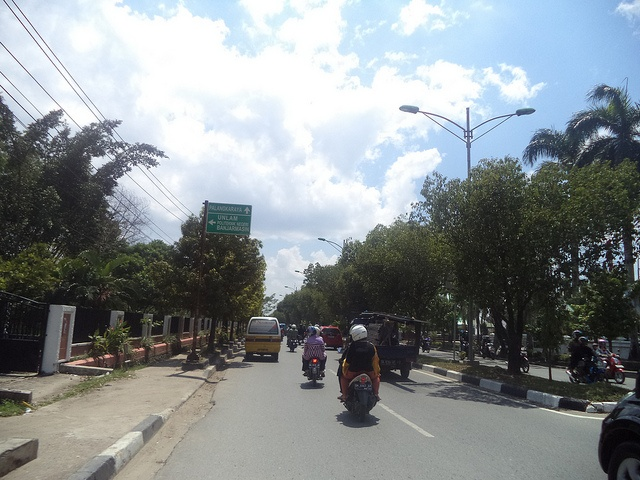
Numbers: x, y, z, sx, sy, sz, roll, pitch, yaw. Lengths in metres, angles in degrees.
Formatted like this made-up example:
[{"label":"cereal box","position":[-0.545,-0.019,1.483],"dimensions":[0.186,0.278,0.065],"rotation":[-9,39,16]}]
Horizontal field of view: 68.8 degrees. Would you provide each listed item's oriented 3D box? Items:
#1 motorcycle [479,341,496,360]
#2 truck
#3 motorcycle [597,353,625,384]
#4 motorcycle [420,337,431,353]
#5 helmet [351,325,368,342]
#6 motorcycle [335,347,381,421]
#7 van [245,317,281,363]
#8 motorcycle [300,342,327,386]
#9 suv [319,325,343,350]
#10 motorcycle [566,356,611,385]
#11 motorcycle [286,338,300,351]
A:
[{"label":"motorcycle","position":[13.549,8.936,37.812],"dimensions":[1.037,1.740,2.592],"rotation":[3,-6,6]},{"label":"truck","position":[3.101,4.200,20.131],"dimensions":[2.100,2.380,3.838],"rotation":[7,-2,-7]},{"label":"motorcycle","position":[11.867,5.233,19.354],"dimensions":[0.644,1.268,1.934],"rotation":[8,-14,-4]},{"label":"motorcycle","position":[9.741,9.857,42.848],"dimensions":[0.920,0.980,1.713],"rotation":[-4,-54,13]},{"label":"helmet","position":[0.960,2.262,11.422],"dimensions":[0.272,0.383,0.359],"rotation":[6,2,-43]},{"label":"motorcycle","position":[0.893,3.575,10.890],"dimensions":[0.699,1.026,1.614],"rotation":[4,-7,3]},{"label":"van","position":[-2.893,5.167,24.983],"dimensions":[1.750,2.266,3.745],"rotation":[2,-6,-4]},{"label":"motorcycle","position":[-0.182,3.748,16.055],"dimensions":[0.848,1.515,2.114],"rotation":[-2,14,-3]},{"label":"suv","position":[1.054,8.051,39.009],"dimensions":[1.790,1.954,3.426],"rotation":[2,-1,2]},{"label":"motorcycle","position":[9.188,4.516,16.139],"dimensions":[1.405,1.072,0.785],"rotation":[-16,-16,39]},{"label":"motorcycle","position":[-1.845,7.096,31.869],"dimensions":[0.771,1.261,1.231],"rotation":[2,-24,1]}]
